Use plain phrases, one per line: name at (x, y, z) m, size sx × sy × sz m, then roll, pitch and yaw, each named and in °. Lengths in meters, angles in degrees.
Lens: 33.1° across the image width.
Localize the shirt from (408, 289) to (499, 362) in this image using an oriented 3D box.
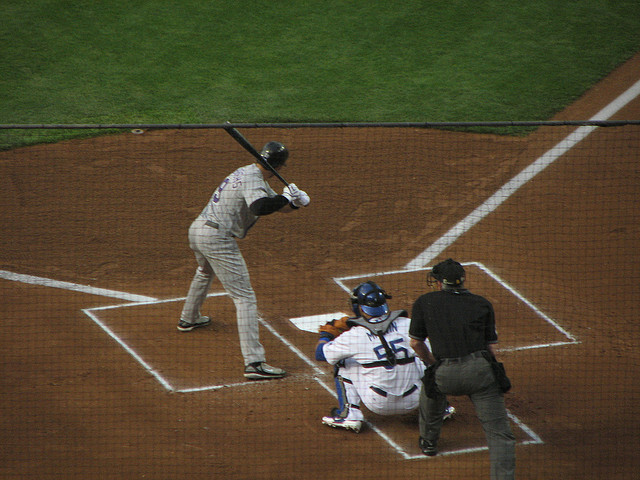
shirt at (1.820, 1.197, 14.693) m, size 2.032 × 0.881 × 0.660 m, roll -1°, pitch 12°, yaw 11°

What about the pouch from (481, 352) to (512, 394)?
pouch at (2.391, 1.784, 14.591) m, size 0.226 × 0.584 × 0.397 m, roll -17°, pitch 25°, yaw -11°

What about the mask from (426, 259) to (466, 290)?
mask at (1.688, 0.427, 14.846) m, size 0.669 × 0.197 × 0.334 m, roll 3°, pitch 24°, yaw -5°

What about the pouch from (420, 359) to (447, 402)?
pouch at (1.564, 1.920, 14.728) m, size 0.326 × 0.658 × 0.243 m, roll -9°, pitch 26°, yaw 4°
